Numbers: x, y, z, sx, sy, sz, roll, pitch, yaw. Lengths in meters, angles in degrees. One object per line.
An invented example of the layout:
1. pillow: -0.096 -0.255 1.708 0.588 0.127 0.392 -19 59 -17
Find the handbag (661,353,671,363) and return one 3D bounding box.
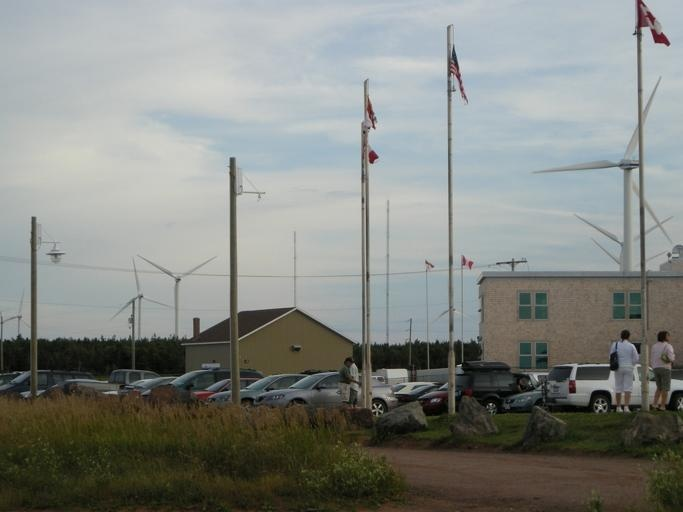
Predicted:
1. handbag: 9.355 2.889 41.850 0.301 0.111 0.217 41 3 3

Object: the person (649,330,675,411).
1. person: 9.259 3.275 42.036 0.610 2.291 1.142 1 4 12

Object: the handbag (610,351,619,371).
1. handbag: 8.041 3.028 42.965 0.208 0.584 0.326 -1 4 -17
